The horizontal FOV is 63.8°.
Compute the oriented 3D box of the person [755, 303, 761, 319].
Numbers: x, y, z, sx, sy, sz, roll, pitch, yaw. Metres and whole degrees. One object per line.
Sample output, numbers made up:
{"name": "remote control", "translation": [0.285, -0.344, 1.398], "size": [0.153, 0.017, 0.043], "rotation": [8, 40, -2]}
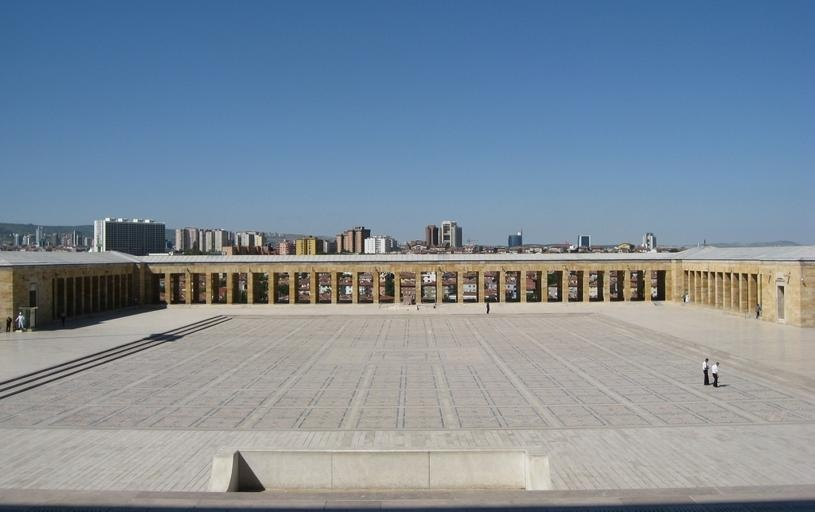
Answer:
{"name": "person", "translation": [24.699, 3.793, 45.980], "size": [0.384, 0.963, 0.956], "rotation": [4, 9, 27]}

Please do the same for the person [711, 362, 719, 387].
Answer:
{"name": "person", "translation": [14.777, 5.520, 31.383], "size": [0.357, 1.073, 1.688], "rotation": [3, 9, 26]}

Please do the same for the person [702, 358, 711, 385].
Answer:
{"name": "person", "translation": [14.387, 5.449, 31.462], "size": [0.360, 1.196, 1.320], "rotation": [3, 9, 25]}

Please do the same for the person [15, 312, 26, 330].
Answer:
{"name": "person", "translation": [-24.518, 4.070, 41.391], "size": [0.547, 1.161, 0.535], "rotation": [7, 12, 43]}
